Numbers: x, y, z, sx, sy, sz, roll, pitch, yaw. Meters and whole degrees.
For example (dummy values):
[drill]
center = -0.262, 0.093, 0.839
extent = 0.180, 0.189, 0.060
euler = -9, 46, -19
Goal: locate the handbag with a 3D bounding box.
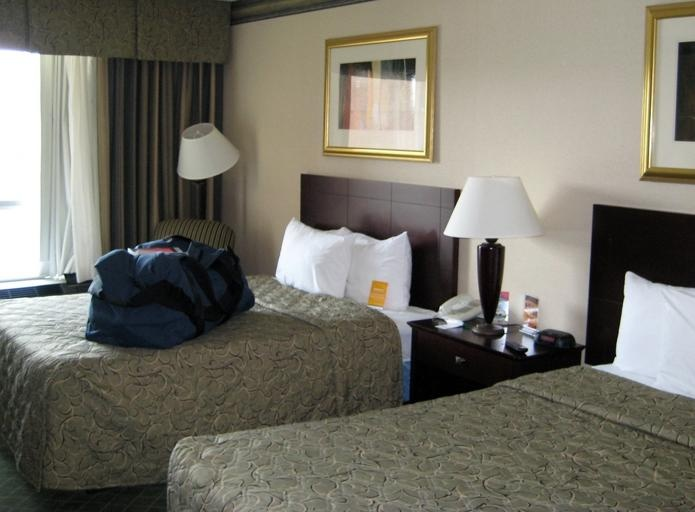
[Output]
[handbag]
center = -1.096, 0.185, 3.433
extent = 0.781, 0.522, 1.095
euler = 2, 11, 16

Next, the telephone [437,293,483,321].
[telephone]
center = 0.752, 0.346, 3.626
extent = 0.197, 0.075, 0.172
euler = -2, 25, -18

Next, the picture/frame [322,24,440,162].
[picture/frame]
center = 0.289, -1.262, 4.241
extent = 0.076, 1.003, 1.101
euler = -7, 10, -44

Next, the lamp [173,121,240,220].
[lamp]
center = -1.333, -0.935, 5.249
extent = 0.530, 1.074, 0.544
euler = -11, 43, -15
